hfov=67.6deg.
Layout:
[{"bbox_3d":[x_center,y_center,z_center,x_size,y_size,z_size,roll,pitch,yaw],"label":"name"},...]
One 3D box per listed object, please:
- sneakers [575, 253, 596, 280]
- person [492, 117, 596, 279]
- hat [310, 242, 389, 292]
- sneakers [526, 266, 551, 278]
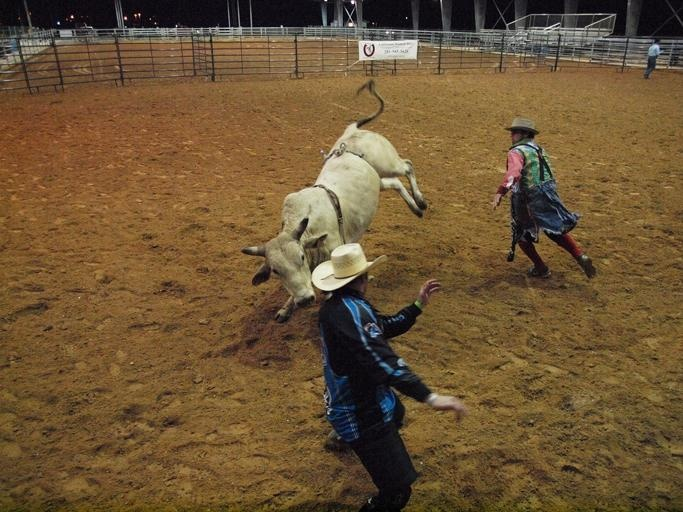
[{"bbox_3d":[2.852,0.126,6.000,0.203,0.294,0.155,-19,-4,-4],"label":"sneakers"},{"bbox_3d":[2.430,-0.658,6.093,1.176,1.905,0.948,5,24,12],"label":"person"},{"bbox_3d":[0.079,0.063,4.007,0.490,0.168,0.522,-12,13,44],"label":"hat"},{"bbox_3d":[2.431,0.191,6.291,0.294,0.119,0.116,2,43,39],"label":"sneakers"}]
